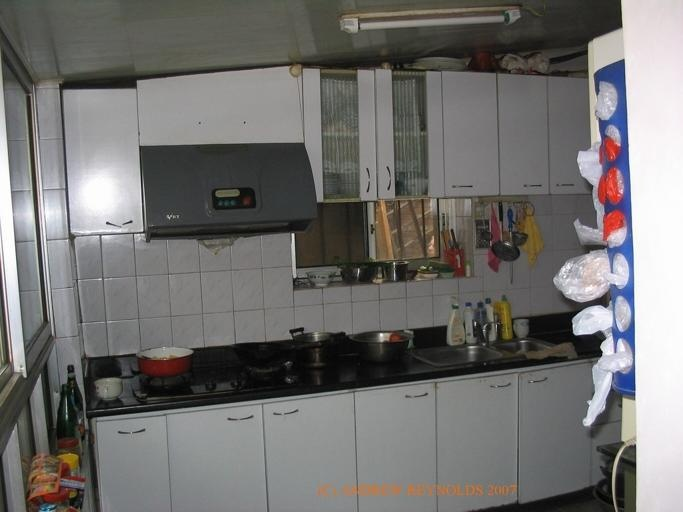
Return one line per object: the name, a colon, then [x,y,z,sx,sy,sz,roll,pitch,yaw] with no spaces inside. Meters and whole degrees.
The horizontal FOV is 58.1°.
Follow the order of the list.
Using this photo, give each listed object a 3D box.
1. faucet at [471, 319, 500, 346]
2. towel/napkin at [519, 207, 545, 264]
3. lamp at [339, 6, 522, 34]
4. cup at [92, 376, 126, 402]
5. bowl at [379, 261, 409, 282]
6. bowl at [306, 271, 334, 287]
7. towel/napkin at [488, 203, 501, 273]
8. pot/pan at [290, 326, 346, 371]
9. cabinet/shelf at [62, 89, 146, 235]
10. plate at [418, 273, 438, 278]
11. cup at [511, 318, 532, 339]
faucet: [0.935,0.508,4.090,0.199,0.214,0.119,-2,4,-17]
towel/napkin: [1.290,-0.141,4.184,0.163,0.456,0.090,1,42,28]
lamp: [0.398,-1.131,2.930,0.753,0.098,0.112,-5,-3,-12]
cup: [-1.177,0.668,3.134,0.116,0.090,0.128,-11,14,-42]
bowl: [0.344,0.095,3.995,0.144,0.101,0.132,-1,1,0]
bowl: [-0.131,0.146,3.913,0.167,0.096,0.096,-7,2,-6]
towel/napkin: [1.033,-0.114,4.155,0.120,0.376,0.046,-7,2,-33]
pot/pan: [-0.139,0.476,3.587,0.300,0.185,0.213,1,5,18]
cabinet/shelf: [-1.291,-0.531,3.414,0.509,0.776,0.519,-10,11,-35]
plate: [0.575,0.131,4.088,0.126,0.033,0.056,-7,2,16]
cup: [1.206,0.475,4.104,0.114,0.139,0.113,0,4,0]
